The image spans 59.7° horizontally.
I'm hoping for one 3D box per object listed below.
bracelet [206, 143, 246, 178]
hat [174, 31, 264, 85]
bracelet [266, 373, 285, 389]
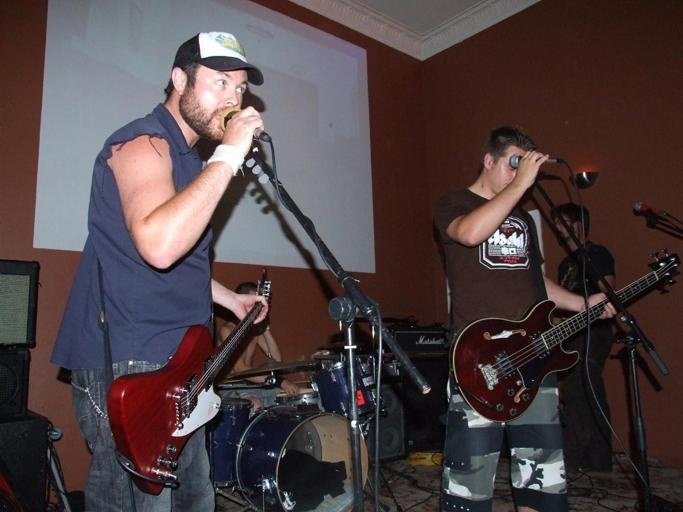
[{"bbox_3d":[-0.501,-0.416,2.618,0.130,0.145,0.057,20,-17,-13],"label":"bracelet"},{"bbox_3d":[-0.589,-0.880,2.811,0.326,0.193,0.254,6,2,23],"label":"hat"},{"bbox_3d":[-0.467,0.855,4.163,0.098,0.058,0.149,5,-20,-7],"label":"bracelet"}]
